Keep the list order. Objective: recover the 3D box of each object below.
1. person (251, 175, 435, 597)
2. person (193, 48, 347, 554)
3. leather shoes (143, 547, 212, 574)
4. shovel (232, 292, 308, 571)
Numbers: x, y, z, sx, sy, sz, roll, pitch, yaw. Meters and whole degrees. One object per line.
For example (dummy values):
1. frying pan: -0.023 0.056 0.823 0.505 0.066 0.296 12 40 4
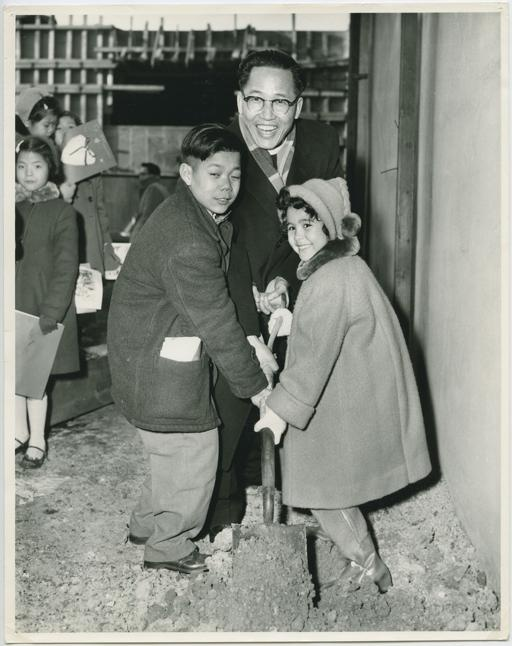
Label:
1. person: 0.276 0.222 2.430 0.447 1.450 0.552 -2 4 -29
2. person: 0.054 0.012 2.913 0.565 2.192 0.525 -12 24 -27
3. leather shoes: -0.273 0.830 2.479 0.225 0.137 0.092 -4 15 -7
4. shovel: 0.049 0.436 2.472 0.280 0.870 0.661 0 13 0
